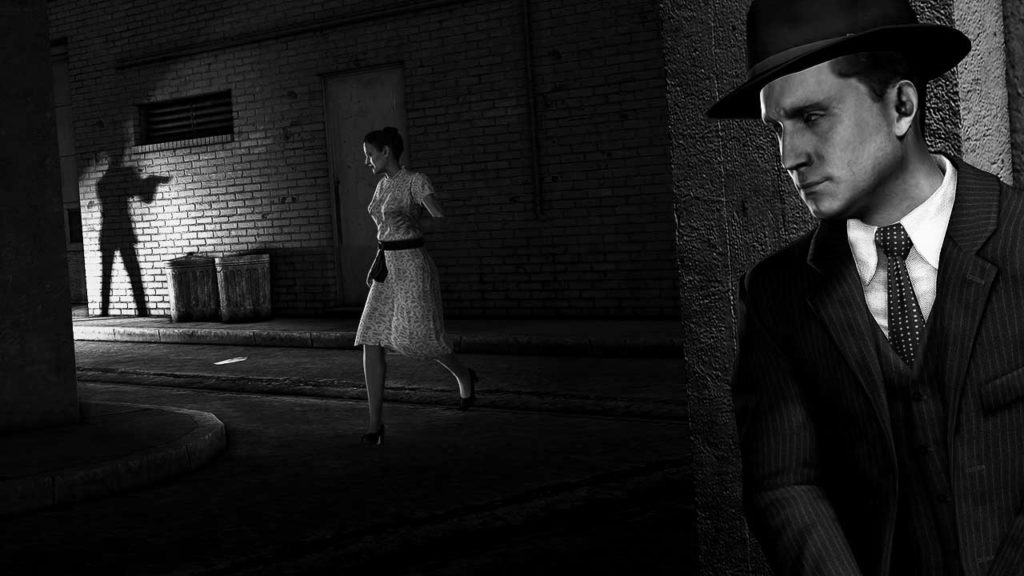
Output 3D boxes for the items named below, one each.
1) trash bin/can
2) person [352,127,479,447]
[{"bbox_3d":[-5.233,-0.014,14.548,1.859,1.211,0.674,0,8,29],"label":"trash bin/can"},{"bbox_3d":[-0.907,-0.123,7.281,1.240,2.677,0.774,-8,8,-29],"label":"person"}]
